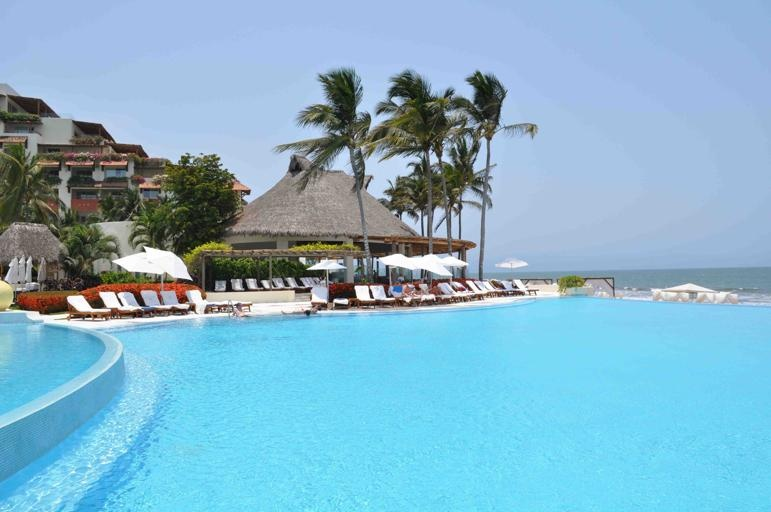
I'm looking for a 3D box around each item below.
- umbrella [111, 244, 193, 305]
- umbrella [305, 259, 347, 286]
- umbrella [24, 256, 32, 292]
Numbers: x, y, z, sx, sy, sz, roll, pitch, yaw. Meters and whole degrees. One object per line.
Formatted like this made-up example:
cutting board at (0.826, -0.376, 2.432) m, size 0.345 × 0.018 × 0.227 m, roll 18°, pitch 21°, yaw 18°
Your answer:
umbrella at (-11.720, 0.835, 32.960) m, size 3.275 × 2.158 × 1.702 m, roll 4°, pitch 12°, yaw 16°
umbrella at (-3.228, 1.327, 37.765) m, size 1.979 × 1.385 × 1.981 m, roll 0°, pitch 4°, yaw 14°
umbrella at (-19.765, 0.962, 35.628) m, size 0.429 × 1.778 × 0.871 m, roll -6°, pitch 13°, yaw -30°
